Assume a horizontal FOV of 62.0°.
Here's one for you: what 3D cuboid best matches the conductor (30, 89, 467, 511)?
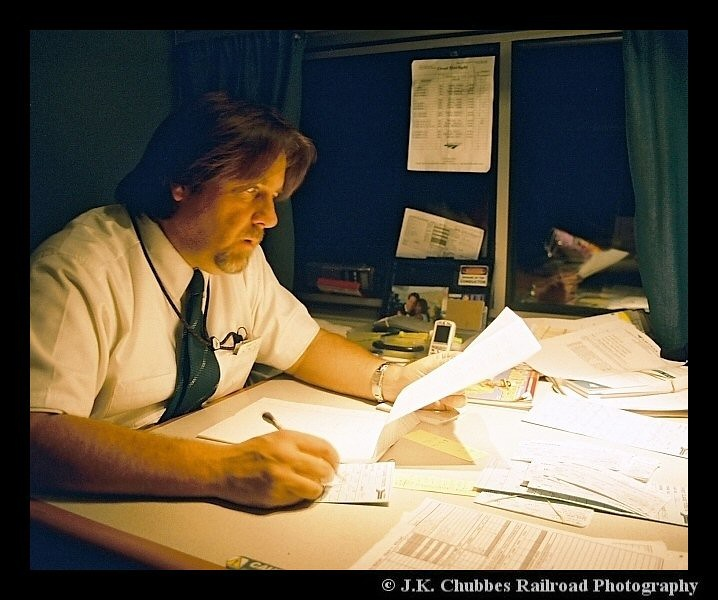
[{"bbox_3d":[-0.198,-0.055,1.343,0.885,0.858,0.654,3,6,11],"label":"conductor"}]

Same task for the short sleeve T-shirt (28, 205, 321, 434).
[{"bbox_3d":[-0.368,0.056,1.260,0.628,0.383,0.315,-8,24,-31],"label":"short sleeve T-shirt"}]

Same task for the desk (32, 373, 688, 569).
[{"bbox_3d":[-0.022,0.320,1.003,0.984,0.146,0.421,3,4,12],"label":"desk"}]

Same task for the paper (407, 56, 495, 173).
[{"bbox_3d":[0.252,-0.506,1.592,0.305,0.360,0.025,1,5,7],"label":"paper"}]
